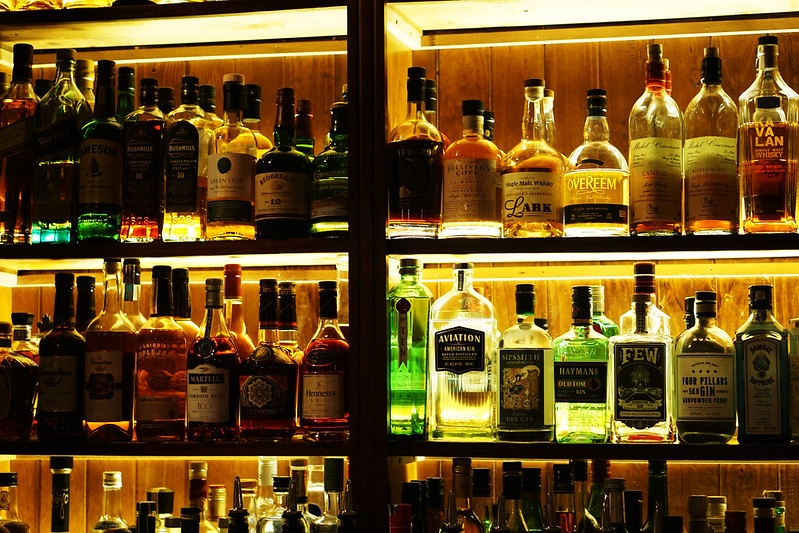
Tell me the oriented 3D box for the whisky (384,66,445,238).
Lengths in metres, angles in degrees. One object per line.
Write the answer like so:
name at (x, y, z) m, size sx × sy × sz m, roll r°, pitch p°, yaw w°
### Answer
whisky at (0.046, -0.303, 3.065) m, size 0.154 × 0.464 × 0.096 m, roll 0°, pitch -8°, yaw 1°

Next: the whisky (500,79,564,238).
whisky at (0.373, -0.288, 3.070) m, size 0.159 × 0.445 × 0.171 m, roll -3°, pitch -8°, yaw 21°

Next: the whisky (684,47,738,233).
whisky at (0.829, -0.330, 3.000) m, size 0.143 × 0.501 × 0.095 m, roll -2°, pitch -8°, yaw 14°

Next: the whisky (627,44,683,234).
whisky at (0.688, -0.334, 3.021) m, size 0.143 × 0.519 × 0.106 m, roll -1°, pitch -8°, yaw 13°

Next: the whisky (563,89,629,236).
whisky at (0.526, -0.275, 3.014) m, size 0.175 × 0.408 × 0.089 m, roll -1°, pitch -8°, yaw 7°

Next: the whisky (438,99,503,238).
whisky at (0.200, -0.257, 3.086) m, size 0.236 × 0.370 × 0.224 m, roll 3°, pitch -3°, yaw -30°
